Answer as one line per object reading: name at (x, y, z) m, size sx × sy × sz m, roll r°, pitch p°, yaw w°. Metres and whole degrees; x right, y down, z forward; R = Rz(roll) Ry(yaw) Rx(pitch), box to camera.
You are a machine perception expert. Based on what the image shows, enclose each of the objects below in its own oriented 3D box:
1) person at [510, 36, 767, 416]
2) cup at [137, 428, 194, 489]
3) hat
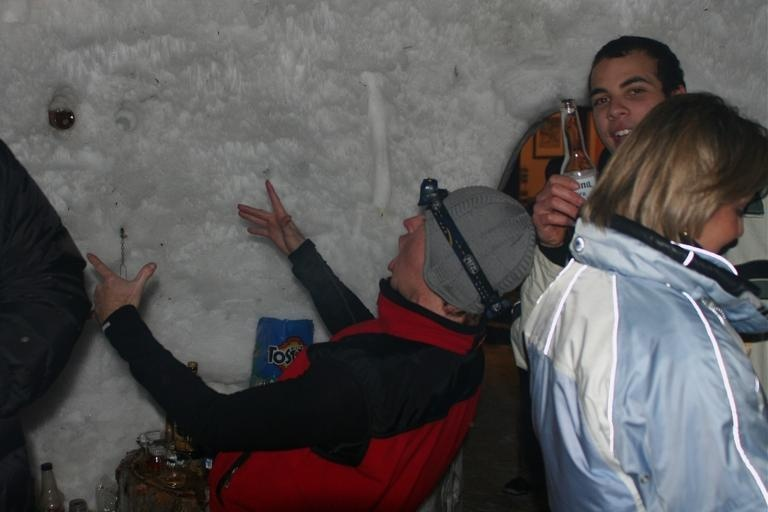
person at (1.061, -0.169, 3.353) m, size 1.097 × 1.419 × 0.520 m, roll 18°, pitch 14°, yaw 23°
cup at (-0.812, 0.769, 3.085) m, size 0.231 × 0.084 × 0.173 m, roll 19°, pitch 26°, yaw 14°
hat at (0.259, -0.013, 2.791) m, size 0.167 × 0.343 × 0.420 m, roll -46°, pitch 10°, yaw -35°
